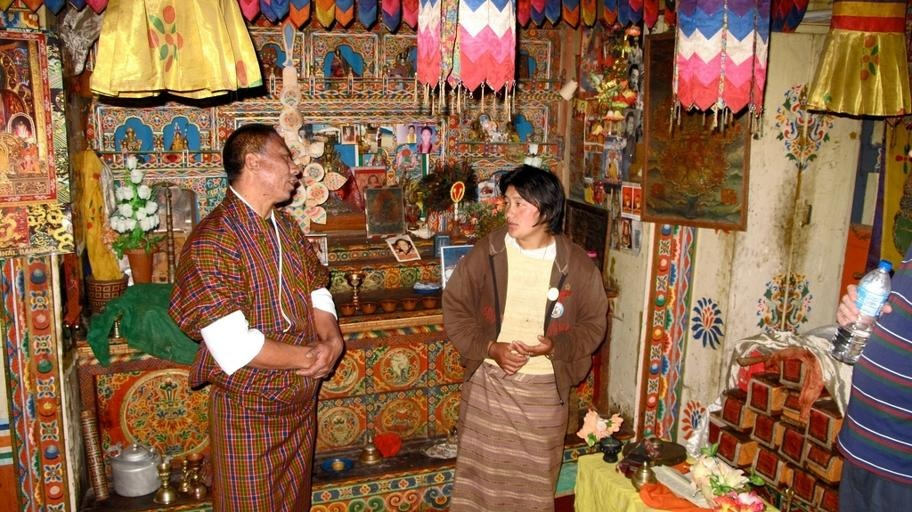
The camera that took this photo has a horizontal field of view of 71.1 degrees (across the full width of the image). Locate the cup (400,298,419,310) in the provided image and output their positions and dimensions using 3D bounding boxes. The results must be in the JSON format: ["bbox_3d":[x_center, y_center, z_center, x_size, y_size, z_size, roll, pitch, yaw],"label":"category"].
[{"bbox_3d":[-0.448,0.448,6.048,0.113,0.077,0.112,2,-5,0],"label":"cup"}]

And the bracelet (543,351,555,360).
[{"bbox_3d":[0.721,0.758,4.935,0.065,0.046,0.063,6,27,16],"label":"bracelet"}]

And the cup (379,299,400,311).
[{"bbox_3d":[-0.615,0.446,5.997,0.115,0.082,0.115,1,5,0],"label":"cup"}]

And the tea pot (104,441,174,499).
[{"bbox_3d":[-2.806,1.832,5.596,0.400,0.409,0.389,2,10,0],"label":"tea pot"}]

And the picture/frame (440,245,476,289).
[{"bbox_3d":[0.008,0.047,6.190,0.354,0.289,0.330,-6,4,20],"label":"picture/frame"}]

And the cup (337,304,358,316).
[{"bbox_3d":[-0.997,0.497,5.888,0.122,0.064,0.120,0,-10,0],"label":"cup"}]

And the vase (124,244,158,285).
[{"bbox_3d":[-2.895,0.092,5.871,0.322,0.347,0.312,-1,2,-7],"label":"vase"}]

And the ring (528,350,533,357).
[{"bbox_3d":[0.560,0.741,4.870,0.045,0.042,0.016,-2,11,10],"label":"ring"}]

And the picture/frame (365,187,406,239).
[{"bbox_3d":[-0.760,-0.444,6.647,0.561,0.617,0.068,-1,-4,-13],"label":"picture/frame"}]

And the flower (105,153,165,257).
[{"bbox_3d":[-2.957,-0.502,5.854,0.389,0.842,0.378,-5,5,-26],"label":"flower"}]

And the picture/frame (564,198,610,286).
[{"bbox_3d":[1.288,-0.139,6.152,0.081,0.795,0.925,-3,5,-21],"label":"picture/frame"}]

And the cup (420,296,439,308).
[{"bbox_3d":[-0.248,0.434,6.100,0.182,0.096,0.129,-2,7,0],"label":"cup"}]

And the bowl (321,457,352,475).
[{"bbox_3d":[-1.090,1.903,5.809,0.148,0.033,0.143,0,23,0],"label":"bowl"}]
